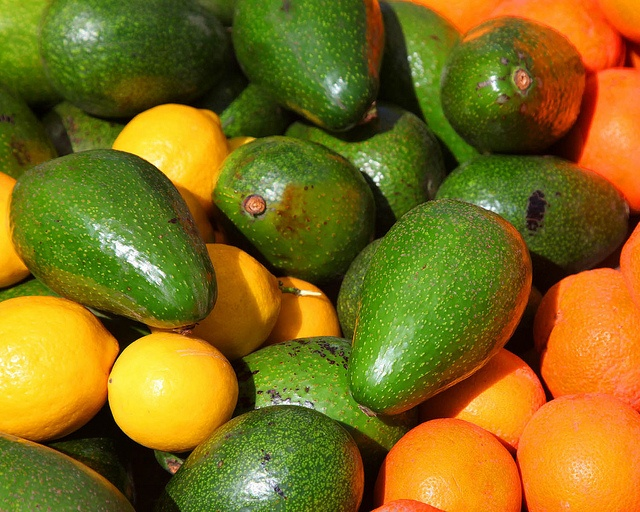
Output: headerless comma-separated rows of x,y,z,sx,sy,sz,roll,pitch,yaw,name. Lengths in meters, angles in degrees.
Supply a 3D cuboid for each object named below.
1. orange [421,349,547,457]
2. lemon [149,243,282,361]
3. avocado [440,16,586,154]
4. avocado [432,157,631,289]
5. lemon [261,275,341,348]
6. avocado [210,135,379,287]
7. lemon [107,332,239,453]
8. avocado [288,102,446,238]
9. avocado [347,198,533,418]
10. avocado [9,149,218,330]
0.302,0.279,1.274,0.144,0.284,0.139,8,112,24,orange
-0.189,0.104,1.442,0.182,0.241,0.199,37,98,23,lemon
0.434,-0.388,1.544,0.317,0.214,0.268,21,70,10,avocado
0.496,-0.088,1.613,0.359,0.241,0.273,-9,97,-11,avocado
-0.035,0.129,1.548,0.162,0.135,0.154,25,55,-21,lemon
-0.051,-0.125,1.549,0.327,0.253,0.249,37,120,-15,avocado
-0.258,0.239,1.264,0.174,0.208,0.173,-52,41,23,lemon
0.105,-0.287,1.656,0.303,0.310,0.252,-17,31,-25,avocado
0.187,0.090,1.330,0.277,0.281,0.405,35,84,-9,avocado
-0.383,-0.023,1.318,0.364,0.208,0.272,45,88,-8,avocado
